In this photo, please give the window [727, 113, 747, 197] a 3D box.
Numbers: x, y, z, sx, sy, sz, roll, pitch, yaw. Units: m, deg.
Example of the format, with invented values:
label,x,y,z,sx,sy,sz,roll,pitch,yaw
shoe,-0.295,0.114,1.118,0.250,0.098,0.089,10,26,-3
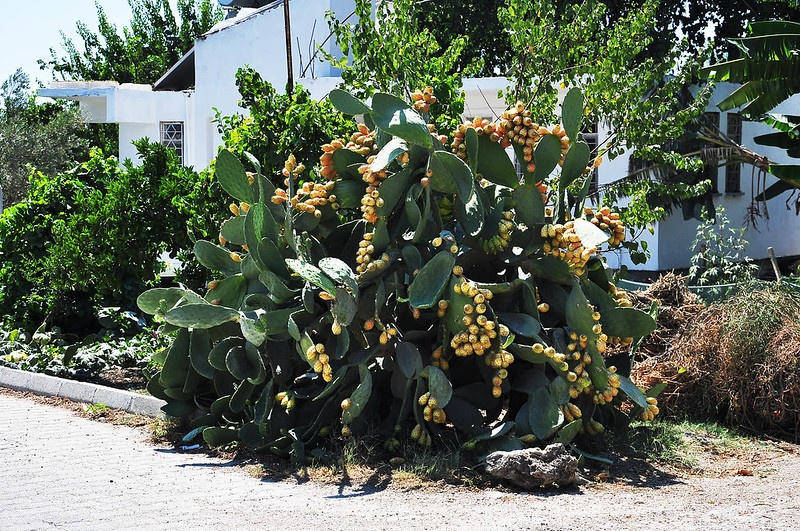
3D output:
label,x,y,z,sx,sy,sz,roll,pitch,yaw
window,9.341,-3.123,19.456,0.729,2.242,0.380,-9,13,-43
